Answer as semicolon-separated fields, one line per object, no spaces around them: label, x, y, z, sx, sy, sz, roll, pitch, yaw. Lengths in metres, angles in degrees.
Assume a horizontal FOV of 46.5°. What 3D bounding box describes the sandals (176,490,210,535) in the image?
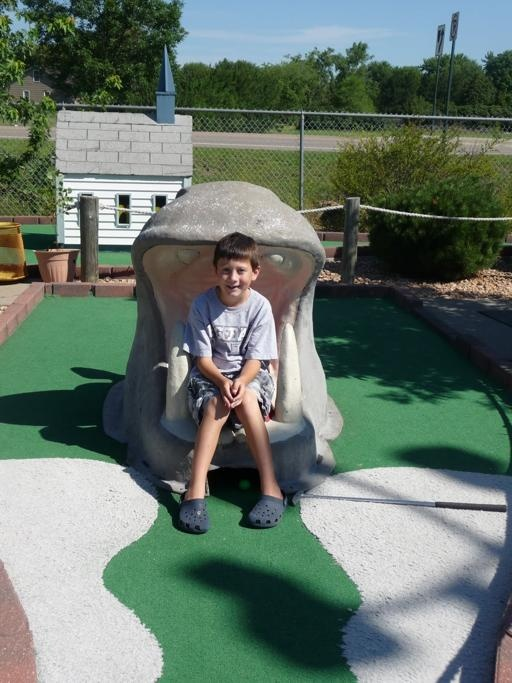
sandals;-0.224;0.623;2.145;0.105;0.093;0.145;-1;12;-13

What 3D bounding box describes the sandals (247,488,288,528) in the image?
sandals;0.053;0.623;2.213;0.173;0.087;0.128;-2;12;-18

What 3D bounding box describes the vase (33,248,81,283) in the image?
vase;-2.202;-0.864;6.608;0.440;0.328;0.430;0;7;-6

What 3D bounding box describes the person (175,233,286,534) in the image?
person;-0.086;0.106;2.332;0.402;1.053;0.694;1;12;-4
